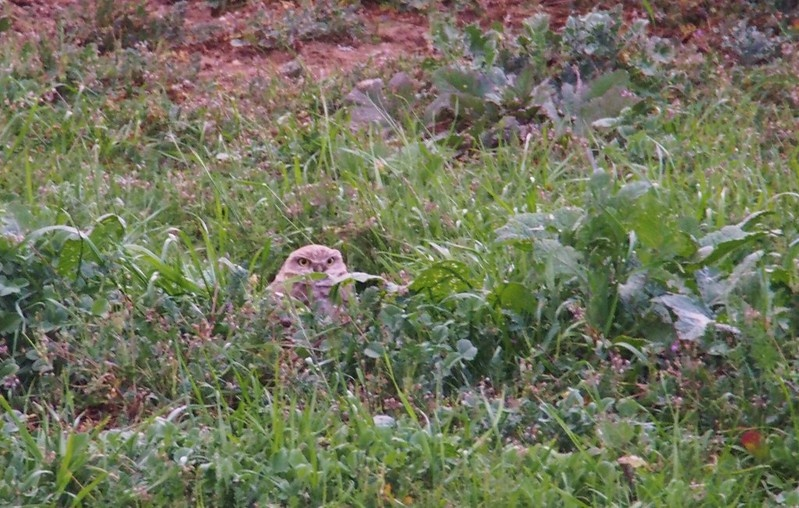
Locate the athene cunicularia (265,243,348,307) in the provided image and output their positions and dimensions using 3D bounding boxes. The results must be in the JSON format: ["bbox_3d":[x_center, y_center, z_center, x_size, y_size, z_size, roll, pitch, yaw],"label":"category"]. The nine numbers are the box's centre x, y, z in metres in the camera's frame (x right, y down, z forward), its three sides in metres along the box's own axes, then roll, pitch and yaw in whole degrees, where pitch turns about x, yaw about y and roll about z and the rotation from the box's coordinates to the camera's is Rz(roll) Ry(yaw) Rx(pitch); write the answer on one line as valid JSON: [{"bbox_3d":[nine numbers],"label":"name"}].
[{"bbox_3d":[-0.420,0.074,6.073,0.327,0.288,0.365,9,7,-15],"label":"athene cunicularia"}]
